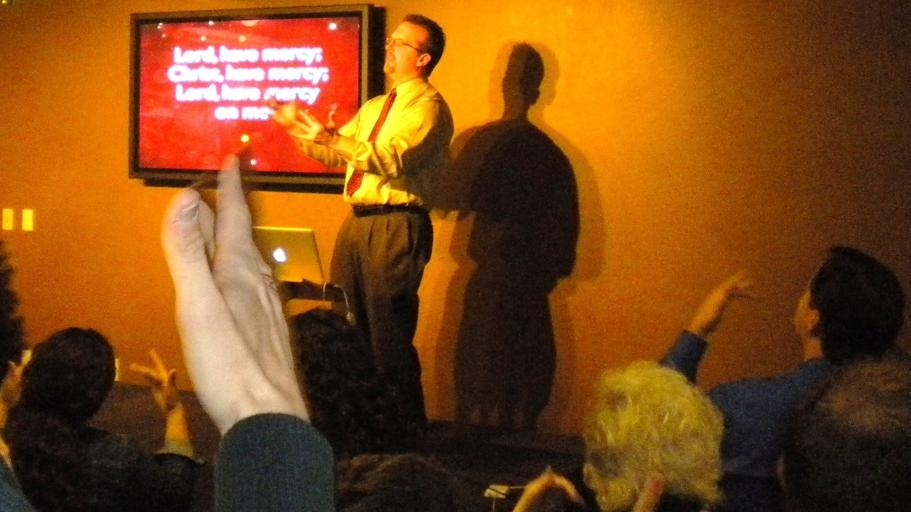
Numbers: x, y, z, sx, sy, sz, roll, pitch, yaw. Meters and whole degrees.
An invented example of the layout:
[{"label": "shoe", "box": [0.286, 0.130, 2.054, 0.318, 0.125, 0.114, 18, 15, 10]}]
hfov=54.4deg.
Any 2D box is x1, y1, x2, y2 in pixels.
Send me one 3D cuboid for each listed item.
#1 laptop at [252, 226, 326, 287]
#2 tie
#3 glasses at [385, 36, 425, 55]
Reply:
[{"label": "laptop", "box": [-0.751, 0.001, 4.085, 0.410, 0.271, 0.262, 2, 1, 0]}, {"label": "tie", "box": [-0.403, -0.573, 4.338, 0.168, 0.639, 0.030, 28, -5, -34]}, {"label": "glasses", "box": [-0.244, -1.026, 4.341, 0.119, 0.033, 0.110, 8, 3, -20]}]
